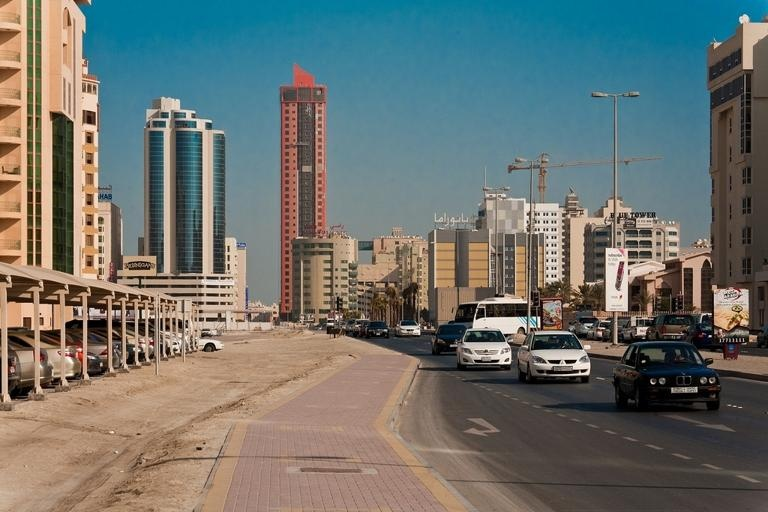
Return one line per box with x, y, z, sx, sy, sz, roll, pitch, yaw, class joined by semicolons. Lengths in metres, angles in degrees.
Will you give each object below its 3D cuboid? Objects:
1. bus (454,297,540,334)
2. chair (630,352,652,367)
8.399;4.780;81.792;6.580;2.670;2.516;1;-3;-22;bus
7.688;3.135;30.788;0.443;0.401;0.425;6;10;21;chair
